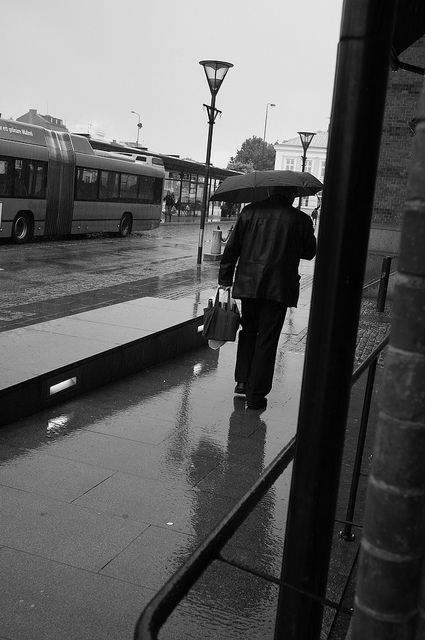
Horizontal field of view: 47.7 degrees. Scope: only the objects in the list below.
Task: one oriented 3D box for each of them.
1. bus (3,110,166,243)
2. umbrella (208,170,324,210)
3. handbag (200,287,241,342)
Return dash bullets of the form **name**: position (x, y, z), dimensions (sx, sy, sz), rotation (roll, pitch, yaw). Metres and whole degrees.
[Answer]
- **bus**: position (-6.446, -6.354, 24.144), dimensions (1.482, 5.262, 9.884), rotation (7, 9, 33)
- **umbrella**: position (0.603, -1.774, 6.374), dimensions (1.492, 0.557, 1.246), rotation (11, 11, 37)
- **handbag**: position (0.103, -0.087, 5.923), dimensions (0.428, 0.830, 0.285), rotation (5, -17, 6)
